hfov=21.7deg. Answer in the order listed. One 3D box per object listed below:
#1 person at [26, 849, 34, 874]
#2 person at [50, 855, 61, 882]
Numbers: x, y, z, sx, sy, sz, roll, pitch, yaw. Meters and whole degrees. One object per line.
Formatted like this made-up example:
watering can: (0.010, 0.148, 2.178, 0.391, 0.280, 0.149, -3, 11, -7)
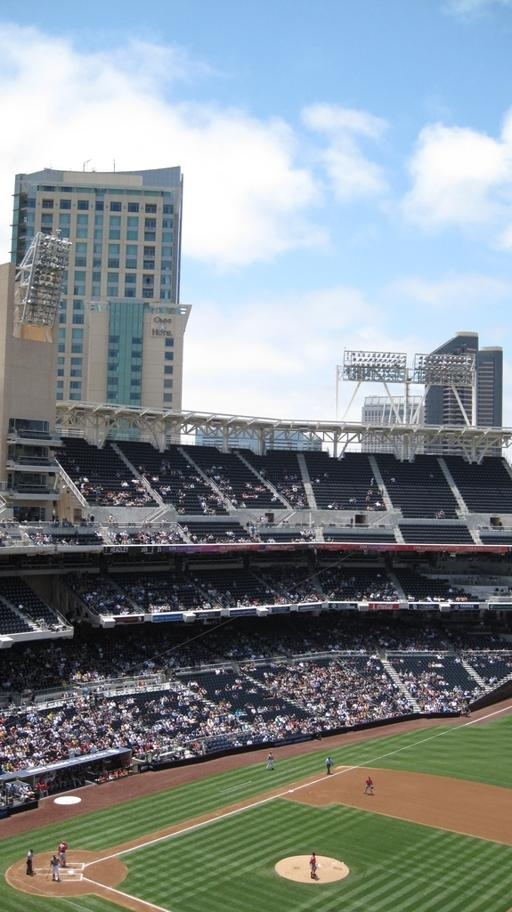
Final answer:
person: (-10.085, 18.185, 60.073, 0.329, 1.165, 1.540, 1, -6, -10)
person: (-8.924, 18.408, 59.846, 0.369, 1.036, 0.981, 1, -6, -9)
